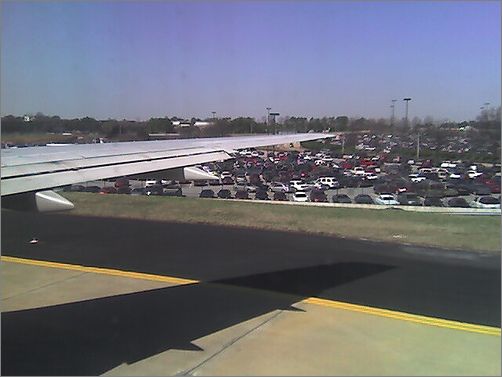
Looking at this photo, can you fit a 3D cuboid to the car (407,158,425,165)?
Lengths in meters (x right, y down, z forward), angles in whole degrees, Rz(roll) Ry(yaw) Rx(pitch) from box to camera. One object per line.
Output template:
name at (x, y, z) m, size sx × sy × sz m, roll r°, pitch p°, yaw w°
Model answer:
car at (23.217, -3.634, 56.219) m, size 1.979 × 0.679 × 1.199 m, roll 2°, pitch 4°, yaw -7°

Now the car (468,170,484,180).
car at (23.057, -1.327, 40.611) m, size 1.480 × 0.707 × 0.927 m, roll 0°, pitch 11°, yaw 10°
